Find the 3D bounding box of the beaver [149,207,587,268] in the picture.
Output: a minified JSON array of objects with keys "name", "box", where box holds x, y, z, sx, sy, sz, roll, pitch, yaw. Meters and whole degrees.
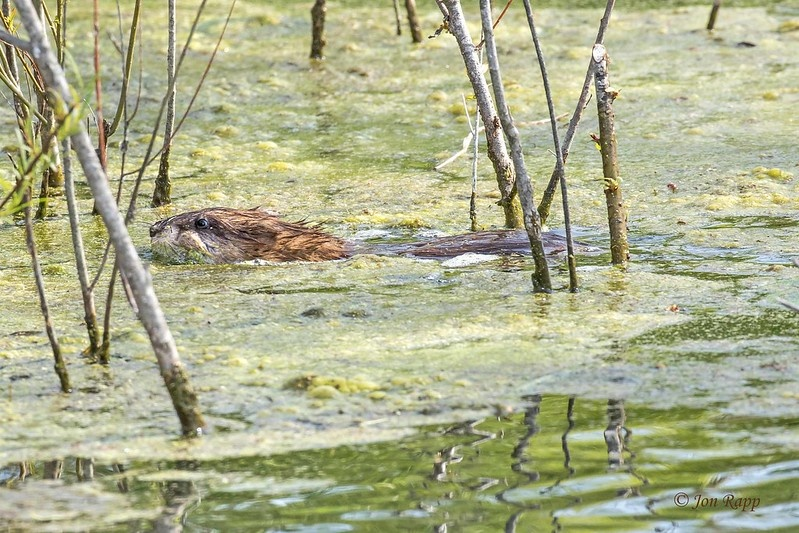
[{"name":"beaver","box":[-0.577,-0.253,6.630,2.540,0.424,0.359,-2,8,7]}]
